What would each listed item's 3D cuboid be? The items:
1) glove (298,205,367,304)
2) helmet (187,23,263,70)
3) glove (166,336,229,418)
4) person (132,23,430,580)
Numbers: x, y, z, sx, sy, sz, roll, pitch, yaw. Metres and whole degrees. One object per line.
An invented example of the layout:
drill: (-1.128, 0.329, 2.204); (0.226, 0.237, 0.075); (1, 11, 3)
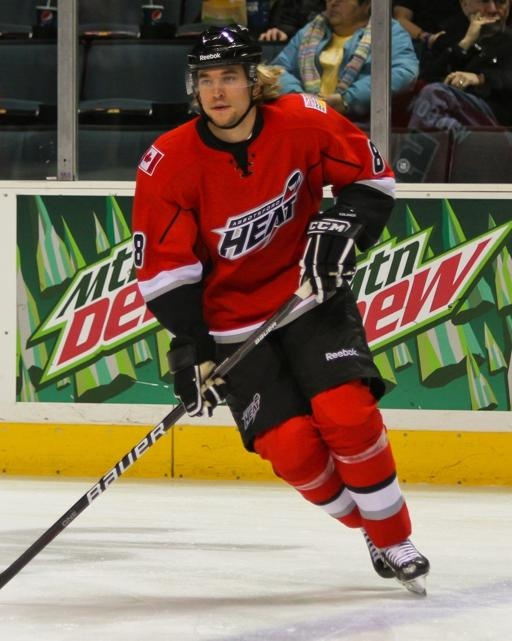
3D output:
glove: (0.196, -0.156, 1.950); (0.174, 0.207, 0.081); (6, -16, 27)
helmet: (-0.079, -0.649, 1.957); (0.144, 0.111, 0.150); (-6, -8, 28)
glove: (-0.146, 0.140, 1.956); (0.165, 0.185, 0.071); (-20, -12, 10)
person: (0.037, -0.042, 1.948); (0.672, 1.362, 0.364); (-1, -1, -6)
